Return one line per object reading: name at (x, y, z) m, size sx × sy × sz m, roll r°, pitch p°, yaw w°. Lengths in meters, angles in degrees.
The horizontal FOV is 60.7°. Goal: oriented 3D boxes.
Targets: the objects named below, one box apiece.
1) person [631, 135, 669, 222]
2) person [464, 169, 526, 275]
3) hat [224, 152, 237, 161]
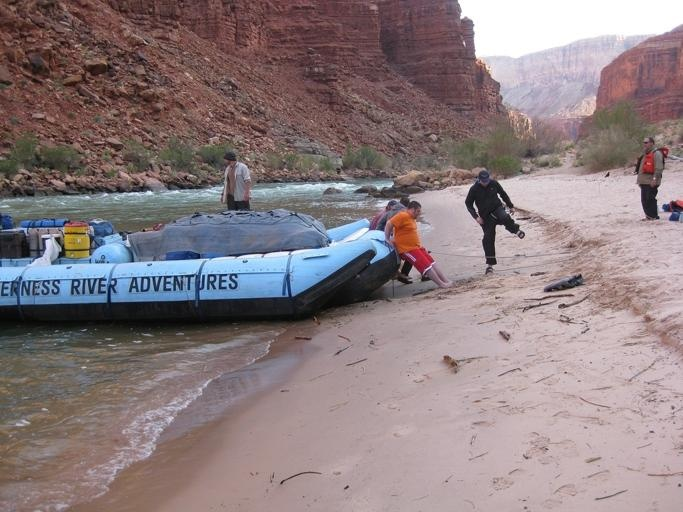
person at (5.345, -1.354, 10.019) m, size 0.503 × 1.411 × 0.945 m, roll -5°, pitch 10°, yaw 27°
person at (2.477, -0.606, 9.435) m, size 0.806 × 1.602 × 0.945 m, roll -7°, pitch 9°, yaw 14°
hat at (-1.960, -1.769, 10.290) m, size 0.267 × 0.107 × 0.212 m, roll 4°, pitch 5°, yaw -8°
